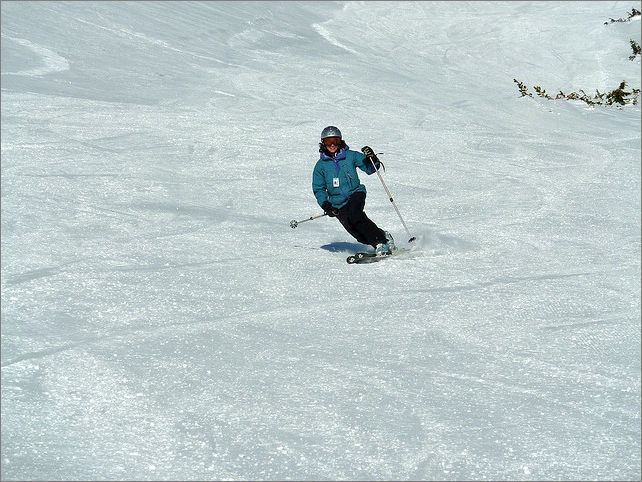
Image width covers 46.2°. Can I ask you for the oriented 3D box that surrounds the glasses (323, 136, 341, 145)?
[{"bbox_3d":[0.107,-1.163,8.692,0.234,0.047,0.181,-1,3,-1],"label":"glasses"}]

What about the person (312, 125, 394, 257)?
[{"bbox_3d":[0.384,-0.635,8.568,0.677,1.324,1.108,6,20,-24],"label":"person"}]

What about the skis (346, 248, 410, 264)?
[{"bbox_3d":[0.616,0.173,8.252,0.239,0.111,0.729,19,19,42],"label":"skis"}]
